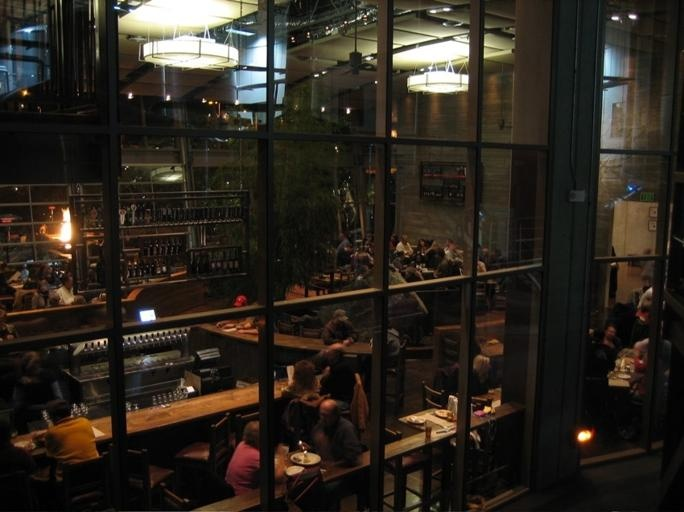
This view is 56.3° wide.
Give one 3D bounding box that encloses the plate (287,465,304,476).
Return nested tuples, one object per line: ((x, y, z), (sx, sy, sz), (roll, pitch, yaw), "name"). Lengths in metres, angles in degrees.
((-0.437, 2.004, 5.951), (0.157, 0.033, 0.124), (-4, 13, -5), "plate")

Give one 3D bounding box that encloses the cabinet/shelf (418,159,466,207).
((1.382, -1.020, 8.566), (0.636, 0.605, 0.369), (3, 19, 16), "cabinet/shelf")

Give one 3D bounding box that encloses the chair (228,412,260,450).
((-1.064, 1.869, 6.931), (0.296, 0.398, 0.529), (-5, 13, -10), "chair")

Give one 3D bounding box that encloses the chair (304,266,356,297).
((-0.161, 0.267, 6.737), (0.549, 0.243, 0.475), (-7, 14, -18), "chair")

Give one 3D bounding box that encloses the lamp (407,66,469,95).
((1.484, -2.745, 10.056), (0.916, 0.357, 0.629), (-2, 13, 6), "lamp")

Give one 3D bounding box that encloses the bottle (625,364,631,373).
((3.609, 1.431, 8.097), (0.098, 0.101, 0.023), (3, -4, 10), "bottle")

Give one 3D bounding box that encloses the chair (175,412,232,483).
((-1.515, 2.150, 6.857), (0.451, 0.740, 0.434), (-1, -1, 5), "chair")

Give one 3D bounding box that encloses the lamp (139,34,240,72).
((-1.863, -2.446, 7.688), (0.674, 0.225, 0.678), (-1, 2, -14), "lamp")

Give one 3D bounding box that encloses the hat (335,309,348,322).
((-0.006, 0.624, 6.731), (0.133, 0.066, 0.096), (18, -4, -27), "hat")

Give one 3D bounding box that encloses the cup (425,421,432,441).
((0.916, 1.850, 6.702), (0.100, 0.182, 0.102), (2, -4, 0), "cup")

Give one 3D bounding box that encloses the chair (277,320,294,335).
((-0.666, 0.881, 7.871), (0.139, 0.233, 0.146), (5, -10, -32), "chair")

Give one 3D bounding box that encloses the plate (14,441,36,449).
((-3.154, 1.893, 6.401), (0.101, 0.027, 0.104), (8, 8, 29), "plate")
